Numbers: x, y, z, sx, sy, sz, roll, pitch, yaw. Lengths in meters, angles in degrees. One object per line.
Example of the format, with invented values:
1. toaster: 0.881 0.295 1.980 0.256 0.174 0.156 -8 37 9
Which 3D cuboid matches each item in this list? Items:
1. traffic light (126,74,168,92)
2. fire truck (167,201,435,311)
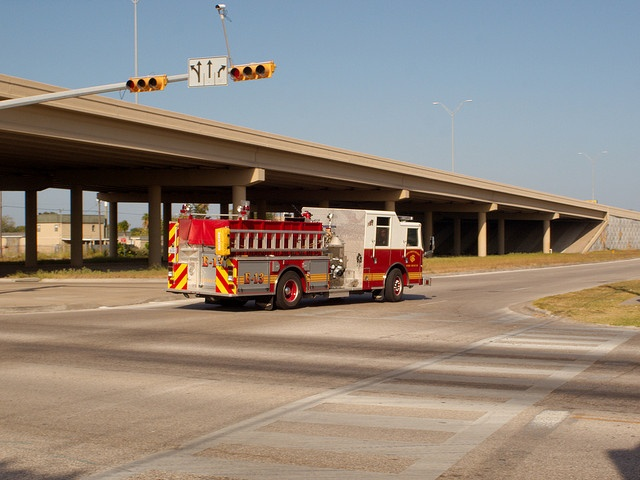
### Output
1. traffic light: -5.219 -4.594 21.662 1.351 0.380 0.422 0 0 34
2. fire truck: -0.397 0.564 24.378 8.849 3.248 2.833 0 0 -40
